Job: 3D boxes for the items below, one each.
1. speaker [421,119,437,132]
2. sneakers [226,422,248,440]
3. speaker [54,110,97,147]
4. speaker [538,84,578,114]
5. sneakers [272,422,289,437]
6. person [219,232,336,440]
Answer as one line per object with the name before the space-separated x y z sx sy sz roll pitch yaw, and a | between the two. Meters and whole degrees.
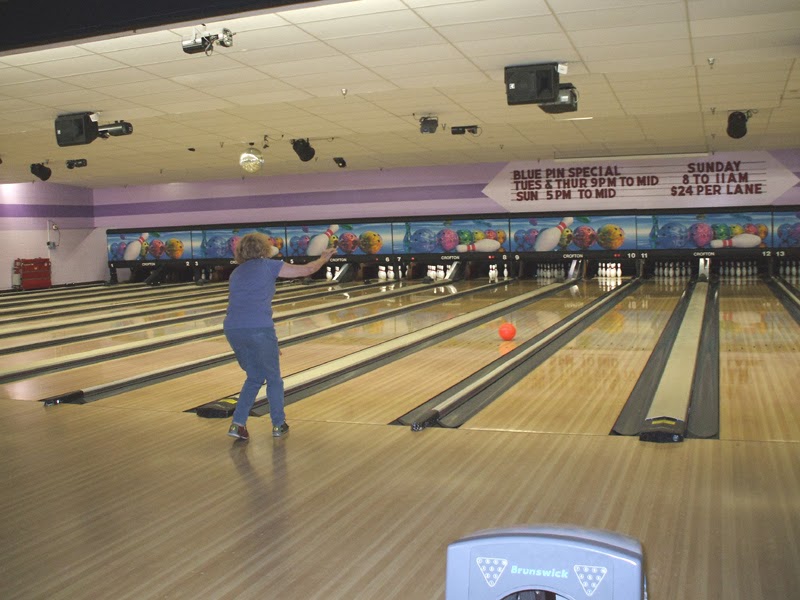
speaker | 0.349 -2.108 7.147 0.241 0.159 0.151 -1 4 2
sneakers | -0.895 0.726 3.173 0.065 0.058 0.140 2 -5 6
speaker | -3.499 -1.851 6.218 0.382 0.283 0.185 -1 2 4
speaker | 1.439 -1.797 5.291 0.429 0.228 0.409 2 1 20
sneakers | -0.672 0.732 3.249 0.040 0.045 0.115 2 6 11
person | -0.688 0.198 3.145 0.569 1.136 0.566 -6 5 -17
